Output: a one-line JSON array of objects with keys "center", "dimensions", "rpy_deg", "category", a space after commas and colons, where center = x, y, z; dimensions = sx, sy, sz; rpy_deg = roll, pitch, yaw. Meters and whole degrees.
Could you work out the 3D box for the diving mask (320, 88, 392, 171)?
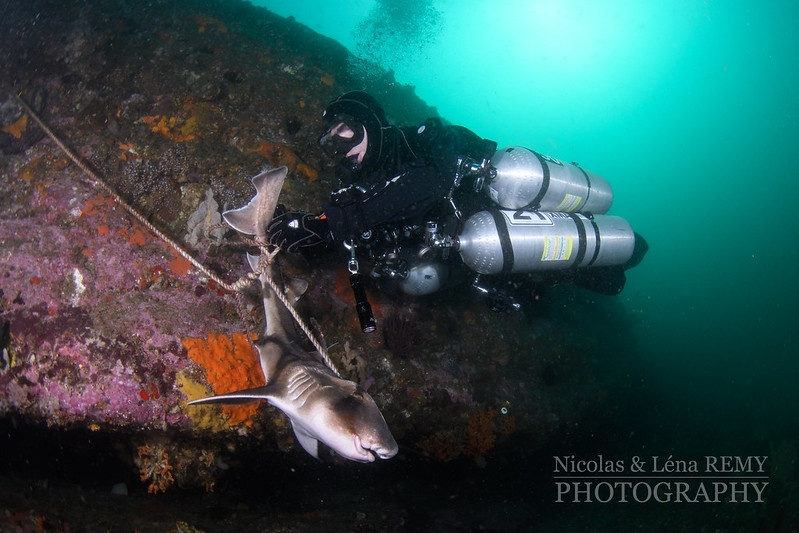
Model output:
[{"center": [-0.798, -2.949, 15.003], "dimensions": [1.315, 1.679, 1.735], "rpy_deg": [10, 30, 36], "category": "diving mask"}]
